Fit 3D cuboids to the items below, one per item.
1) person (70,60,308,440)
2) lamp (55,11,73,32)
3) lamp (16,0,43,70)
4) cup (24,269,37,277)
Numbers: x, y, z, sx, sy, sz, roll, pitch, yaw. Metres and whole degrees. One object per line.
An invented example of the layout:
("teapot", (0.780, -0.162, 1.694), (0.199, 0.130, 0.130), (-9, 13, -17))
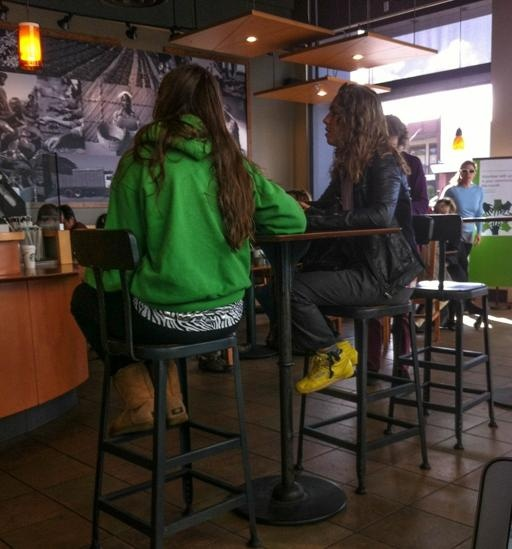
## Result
("person", (-0.232, -0.090, 1.731), (0.630, 1.107, 0.470), (-6, 5, -36))
("lamp", (-2.208, -2.962, 6.278), (0.218, 0.221, 0.182), (-5, 4, -33))
("lamp", (-1.836, -1.876, 4.360), (0.166, 0.354, 0.279), (-4, 4, -23))
("cup", (-1.269, -0.007, 3.026), (0.054, 0.044, 0.047), (0, 1, 27))
